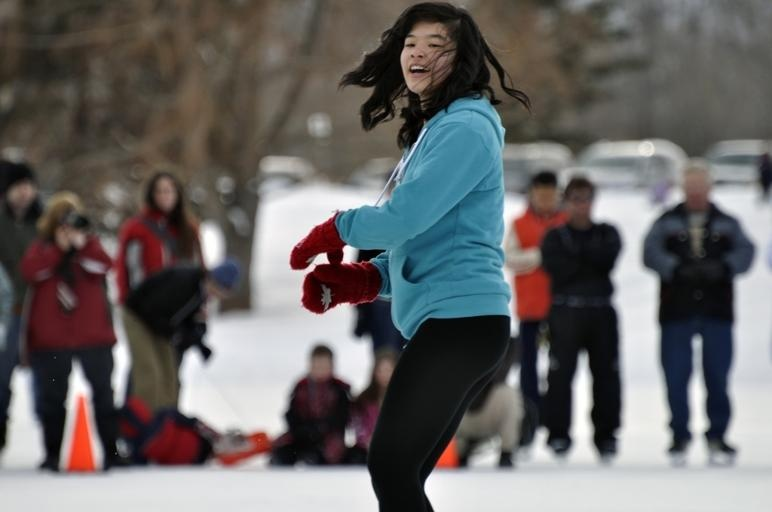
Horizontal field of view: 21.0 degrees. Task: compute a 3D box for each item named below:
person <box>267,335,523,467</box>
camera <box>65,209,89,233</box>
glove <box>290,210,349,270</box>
[{"bbox_3d":[-0.432,1.593,20.359,1.613,1.406,0.604,3,-17,16],"label":"person"},{"bbox_3d":[-2.989,-0.346,20.183,0.232,0.158,0.080,17,-5,-31],"label":"camera"},{"bbox_3d":[-0.600,-0.151,17.715,0.559,0.373,0.171,-30,21,8],"label":"glove"}]
